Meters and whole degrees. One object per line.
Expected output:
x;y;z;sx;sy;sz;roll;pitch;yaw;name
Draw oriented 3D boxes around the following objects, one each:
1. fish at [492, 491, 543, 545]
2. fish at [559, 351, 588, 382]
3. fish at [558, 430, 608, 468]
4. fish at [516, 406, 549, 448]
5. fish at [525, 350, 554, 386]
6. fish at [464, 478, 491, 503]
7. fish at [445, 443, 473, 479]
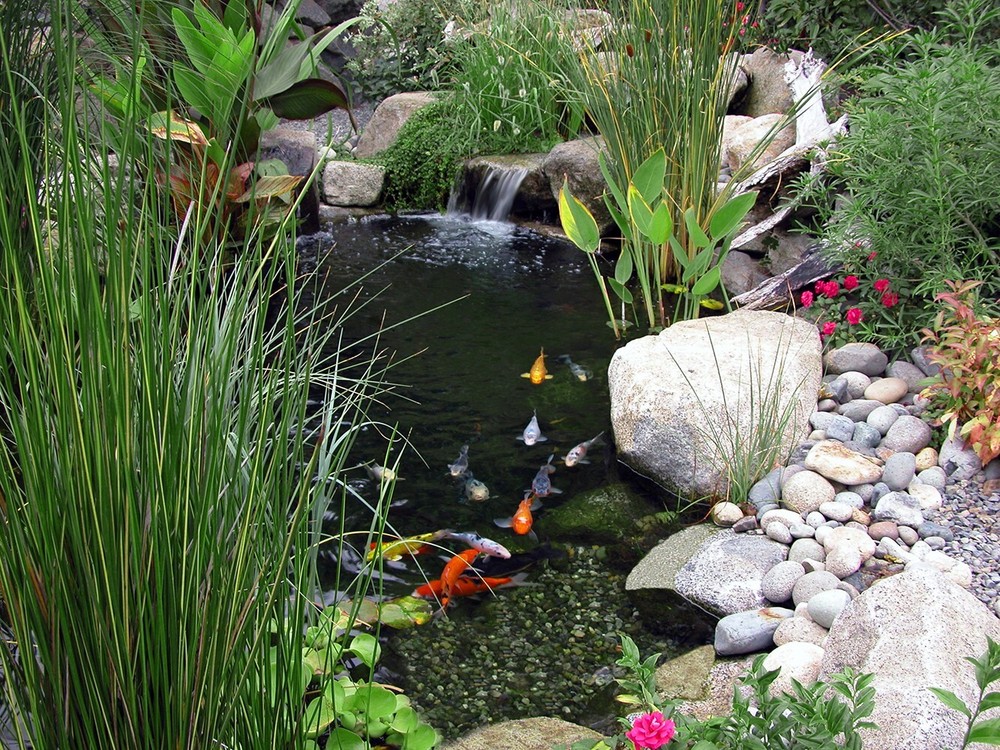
0.078;0.524;3.550;0.098;0.073;0.156;11;31;-7;fish
0.363;-0.041;4.629;0.070;0.045;0.142;-21;44;-4;fish
0.330;0.314;3.944;0.081;0.076;0.172;17;40;30;fish
0.143;0.223;4.069;0.068;0.056;0.153;7;35;2;fish
0.183;-0.030;4.583;0.084;0.056;0.165;2;44;8;fish
-0.085;0.436;3.675;0.098;0.024;0.138;7;39;-6;fish
-0.161;0.340;3.808;0.054;0.068;0.124;4;26;7;fish
